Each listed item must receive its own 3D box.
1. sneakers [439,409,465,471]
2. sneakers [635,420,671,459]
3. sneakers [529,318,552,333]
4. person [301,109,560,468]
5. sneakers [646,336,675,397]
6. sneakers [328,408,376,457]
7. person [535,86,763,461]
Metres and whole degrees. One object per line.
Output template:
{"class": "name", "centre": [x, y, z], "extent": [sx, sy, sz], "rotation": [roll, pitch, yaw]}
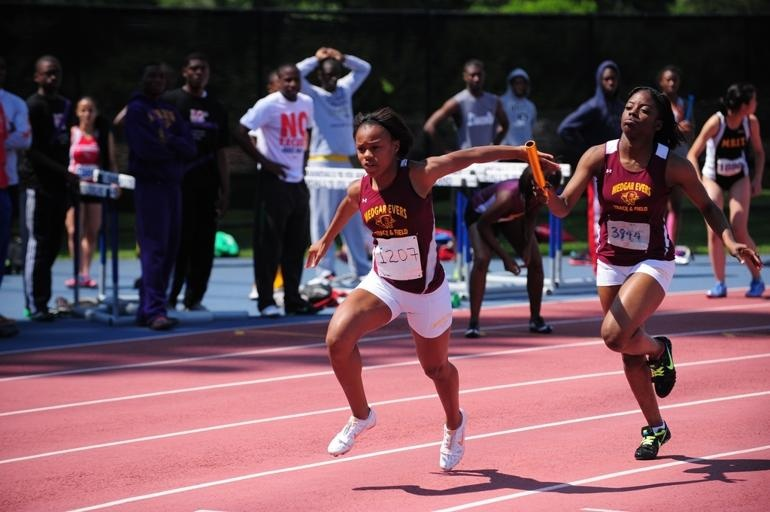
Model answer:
{"class": "sneakers", "centre": [0.530, 1.468, 8.164], "extent": [0.163, 0.489, 0.196], "rotation": [5, -7, 25]}
{"class": "sneakers", "centre": [2.202, 1.480, 8.385], "extent": [0.149, 0.215, 0.459], "rotation": [-7, 26, 47]}
{"class": "sneakers", "centre": [1.869, 0.847, 12.242], "extent": [0.294, 0.143, 0.129], "rotation": [2, 7, 11]}
{"class": "person", "centre": [0.172, 0.263, 8.214], "extent": [1.296, 2.863, 0.641], "rotation": [-1, 3, -5]}
{"class": "sneakers", "centre": [2.326, 0.978, 8.490], "extent": [0.270, 0.580, 0.195], "rotation": [-14, 16, -41]}
{"class": "sneakers", "centre": [-0.261, 1.470, 8.364], "extent": [0.152, 0.425, 0.177], "rotation": [37, -15, 37]}
{"class": "person", "centre": [2.101, 0.133, 8.332], "extent": [1.408, 3.013, 0.636], "rotation": [0, 3, 8]}
